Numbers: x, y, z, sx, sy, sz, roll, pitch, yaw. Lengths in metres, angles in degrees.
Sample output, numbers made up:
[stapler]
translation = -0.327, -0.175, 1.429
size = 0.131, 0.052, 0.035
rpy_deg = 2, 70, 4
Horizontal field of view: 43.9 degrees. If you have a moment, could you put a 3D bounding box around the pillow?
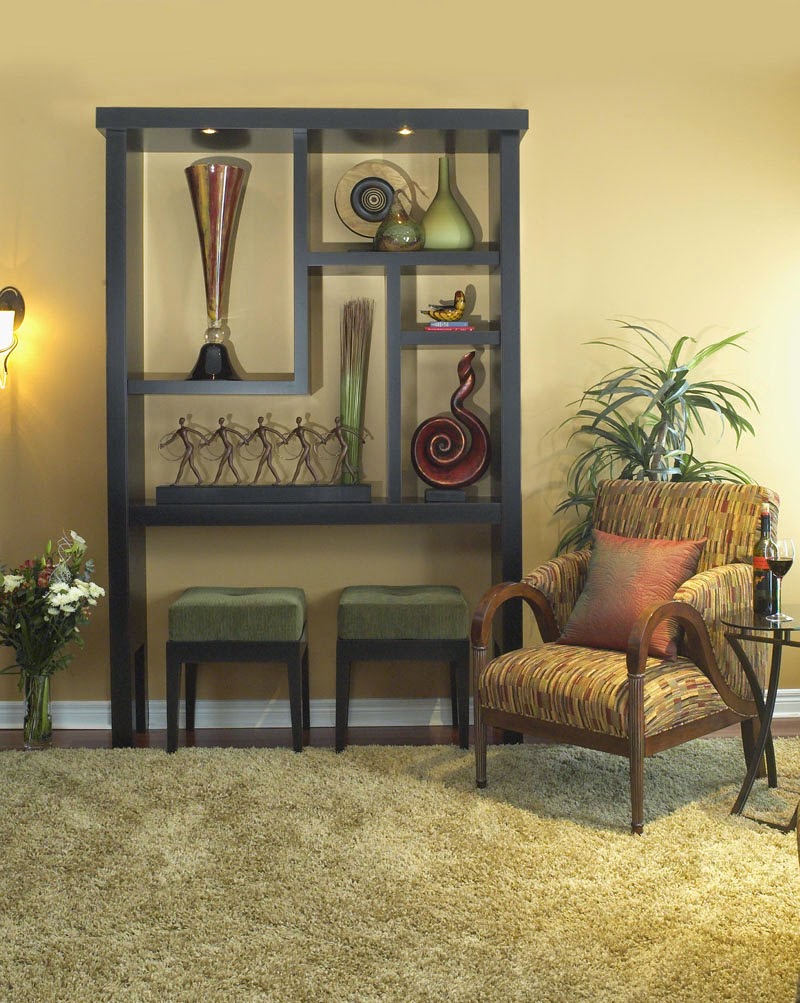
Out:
[pillow]
translation = 0.751, 0.291, 3.058
size = 0.379, 0.339, 0.116
rpy_deg = -6, -26, 44

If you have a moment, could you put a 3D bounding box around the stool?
[stool]
translation = -0.279, 0.588, 3.479
size = 1.010, 0.552, 0.452
rpy_deg = -1, 6, -4

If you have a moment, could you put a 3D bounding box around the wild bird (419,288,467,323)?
[wild bird]
translation = 0.155, -0.720, 3.561
size = 0.152, 0.094, 0.206
rpy_deg = 4, 4, 14
